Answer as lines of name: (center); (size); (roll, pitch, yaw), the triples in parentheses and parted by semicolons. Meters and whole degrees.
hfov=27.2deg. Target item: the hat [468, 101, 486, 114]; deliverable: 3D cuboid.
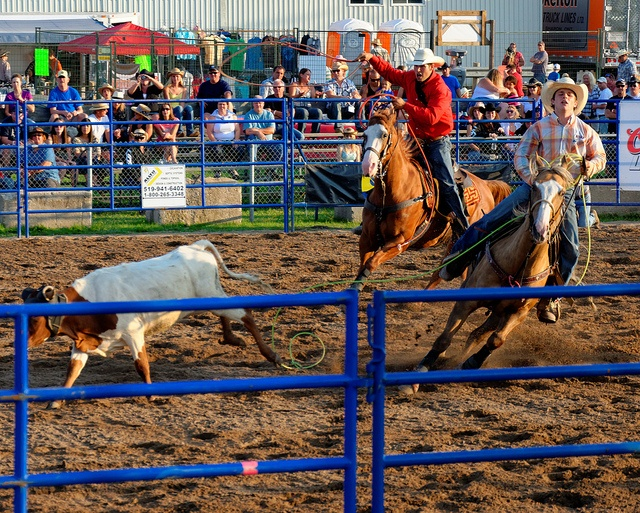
hat: (2.582, -2.459, 21.902); (0.310, 0.126, 0.340); (-1, -13, 9)

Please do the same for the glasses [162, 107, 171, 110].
glasses: (-2.452, -2.325, 20.931); (0.137, 0.042, 0.094); (-2, 9, -17)

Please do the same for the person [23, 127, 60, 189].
person: (-4.266, -1.496, 20.170); (0.533, 0.868, 0.834); (-1, 8, -5)

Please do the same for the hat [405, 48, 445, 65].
hat: (1.269, -2.388, 15.902); (0.309, 0.194, 0.588); (2, 9, 12)

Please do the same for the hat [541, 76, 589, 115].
hat: (2.623, -1.771, 14.349); (0.452, 0.422, 0.188); (4, 39, 8)

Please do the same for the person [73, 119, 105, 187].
person: (-3.612, -1.622, 20.628); (0.496, 1.011, 1.648); (-1, 8, -10)

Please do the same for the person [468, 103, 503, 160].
person: (2.767, -1.984, 21.924); (0.571, 1.118, 0.500); (-1, 2, -17)

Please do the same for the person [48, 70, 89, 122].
person: (-4.227, -2.669, 21.987); (0.593, 0.812, 1.415); (-2, 9, -12)

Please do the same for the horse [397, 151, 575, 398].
horse: (1.890, 0.086, 13.763); (1.372, 2.257, 0.964); (3, 9, 16)

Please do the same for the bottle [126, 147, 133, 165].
bottle: (-2.961, -1.547, 20.437); (0.104, 0.206, 0.354); (-1, 8, -8)

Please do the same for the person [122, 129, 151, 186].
person: (-2.849, -1.531, 20.426); (0.474, 0.832, 0.682); (0, 8, -3)

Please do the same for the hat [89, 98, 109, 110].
hat: (-3.520, -2.386, 21.000); (0.368, 0.096, 0.340); (-5, 2, -8)

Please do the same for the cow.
cow: (-1.736, 0.697, 13.699); (3.104, 1.368, 0.696); (-13, 9, -38)
